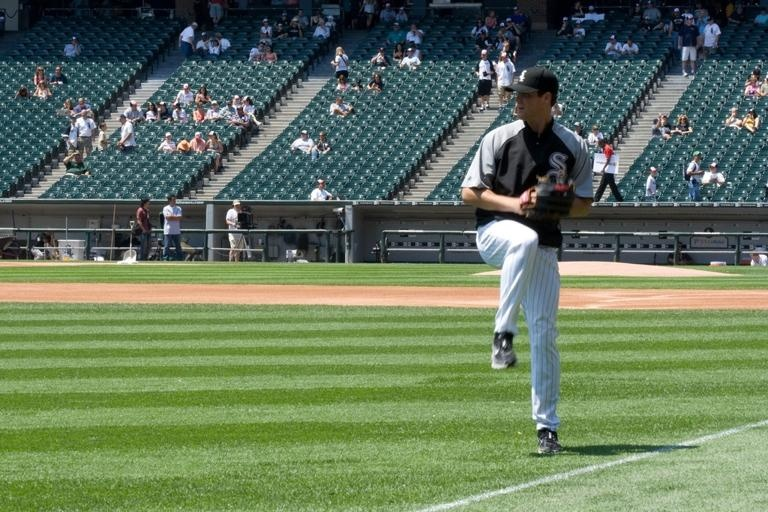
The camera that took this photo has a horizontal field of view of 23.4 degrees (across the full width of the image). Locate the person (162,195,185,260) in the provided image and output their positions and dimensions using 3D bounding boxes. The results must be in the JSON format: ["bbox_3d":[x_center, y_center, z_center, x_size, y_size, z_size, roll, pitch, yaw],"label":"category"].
[{"bbox_3d":[-5.565,-0.724,48.997,0.487,1.695,0.769,1,2,-7],"label":"person"}]

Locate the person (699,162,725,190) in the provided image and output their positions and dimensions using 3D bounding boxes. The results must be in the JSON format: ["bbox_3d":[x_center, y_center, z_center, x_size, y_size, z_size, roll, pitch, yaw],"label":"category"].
[{"bbox_3d":[8.628,-2.057,48.631,0.519,0.659,0.369,2,-4,8],"label":"person"}]

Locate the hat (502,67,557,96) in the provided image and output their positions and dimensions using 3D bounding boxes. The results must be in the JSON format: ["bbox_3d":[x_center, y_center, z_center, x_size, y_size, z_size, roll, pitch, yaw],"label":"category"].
[{"bbox_3d":[2.517,-2.854,30.875,0.699,0.329,0.450,9,7,-2],"label":"hat"}]

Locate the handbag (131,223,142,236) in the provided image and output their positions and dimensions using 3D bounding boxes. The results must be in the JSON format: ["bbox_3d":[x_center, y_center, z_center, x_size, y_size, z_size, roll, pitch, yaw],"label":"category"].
[{"bbox_3d":[-6.589,-0.692,49.611,0.274,0.334,0.138,-9,3,-2],"label":"handbag"}]

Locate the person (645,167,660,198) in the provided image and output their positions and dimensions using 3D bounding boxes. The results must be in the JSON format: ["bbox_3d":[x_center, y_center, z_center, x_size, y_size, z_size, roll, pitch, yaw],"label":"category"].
[{"bbox_3d":[7.075,-1.885,48.948,0.339,0.826,0.874,2,2,7],"label":"person"}]

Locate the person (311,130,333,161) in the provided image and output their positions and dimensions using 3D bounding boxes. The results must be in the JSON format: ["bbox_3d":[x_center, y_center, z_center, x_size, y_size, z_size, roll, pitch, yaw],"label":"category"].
[{"bbox_3d":[-1.745,-3.059,52.583,0.566,0.744,0.723,2,2,-2],"label":"person"}]

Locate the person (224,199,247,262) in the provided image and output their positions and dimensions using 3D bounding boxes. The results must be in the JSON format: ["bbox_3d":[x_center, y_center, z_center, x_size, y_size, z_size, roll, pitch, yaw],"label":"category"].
[{"bbox_3d":[-3.925,-0.663,49.348,0.440,1.601,0.550,1,2,-14],"label":"person"}]

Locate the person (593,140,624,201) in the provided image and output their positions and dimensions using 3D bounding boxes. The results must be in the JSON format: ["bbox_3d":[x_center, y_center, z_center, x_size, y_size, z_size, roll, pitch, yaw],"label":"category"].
[{"bbox_3d":[5.857,-2.194,48.300,0.747,1.614,1.600,2,2,7],"label":"person"}]

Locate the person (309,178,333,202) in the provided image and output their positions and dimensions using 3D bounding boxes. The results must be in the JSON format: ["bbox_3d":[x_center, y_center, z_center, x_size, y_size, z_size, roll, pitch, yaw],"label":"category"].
[{"bbox_3d":[-1.695,-1.771,50.490,0.633,0.545,1.423,1,2,-3],"label":"person"}]

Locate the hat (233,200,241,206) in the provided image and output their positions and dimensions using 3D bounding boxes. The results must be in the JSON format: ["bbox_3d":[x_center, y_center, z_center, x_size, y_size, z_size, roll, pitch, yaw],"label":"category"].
[{"bbox_3d":[-3.900,-1.401,49.356,0.161,0.061,0.187,-6,-8,-6],"label":"hat"}]

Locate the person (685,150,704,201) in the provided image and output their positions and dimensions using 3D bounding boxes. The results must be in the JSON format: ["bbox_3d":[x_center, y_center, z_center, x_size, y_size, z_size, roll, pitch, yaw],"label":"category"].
[{"bbox_3d":[8.117,-2.057,48.544,0.465,1.232,0.982,2,2,9],"label":"person"}]

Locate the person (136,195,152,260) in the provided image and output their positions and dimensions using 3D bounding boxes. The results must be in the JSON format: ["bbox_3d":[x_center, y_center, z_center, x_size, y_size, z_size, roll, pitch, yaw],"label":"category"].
[{"bbox_3d":[-6.344,-0.699,49.216,0.403,1.642,1.010,1,2,-7],"label":"person"}]
